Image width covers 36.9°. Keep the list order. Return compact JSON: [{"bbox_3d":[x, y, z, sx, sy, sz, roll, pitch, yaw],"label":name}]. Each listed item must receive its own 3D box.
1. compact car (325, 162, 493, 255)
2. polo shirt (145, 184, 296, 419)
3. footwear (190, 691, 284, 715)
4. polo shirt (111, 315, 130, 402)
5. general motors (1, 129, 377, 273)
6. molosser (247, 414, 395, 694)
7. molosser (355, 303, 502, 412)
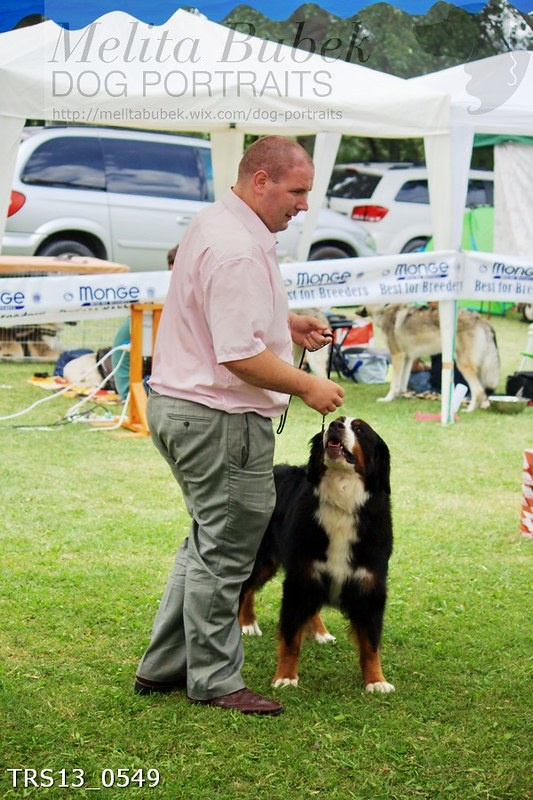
[{"bbox_3d":[2.840,-3.293,13.803,3.269,1.360,1.692,-11,19,-21],"label":"compact car"},{"bbox_3d":[-0.145,-0.293,2.450,0.461,0.714,0.408,4,8,0],"label":"polo shirt"},{"bbox_3d":[-0.091,1.000,2.728,0.331,0.116,0.106,0,1,-1],"label":"footwear"},{"bbox_3d":[-1.445,-0.415,7.993,0.255,0.688,0.537,3,4,-10],"label":"polo shirt"},{"bbox_3d":[-0.772,-3.048,10.589,5.096,1.951,2.245,-3,7,-17],"label":"general motors"},{"bbox_3d":[0.196,0.653,3.445,0.542,1.033,1.465,5,-9,-12],"label":"molosser"},{"bbox_3d":[1.810,-0.562,8.905,1.895,1.141,0.527,8,15,39],"label":"molosser"}]
